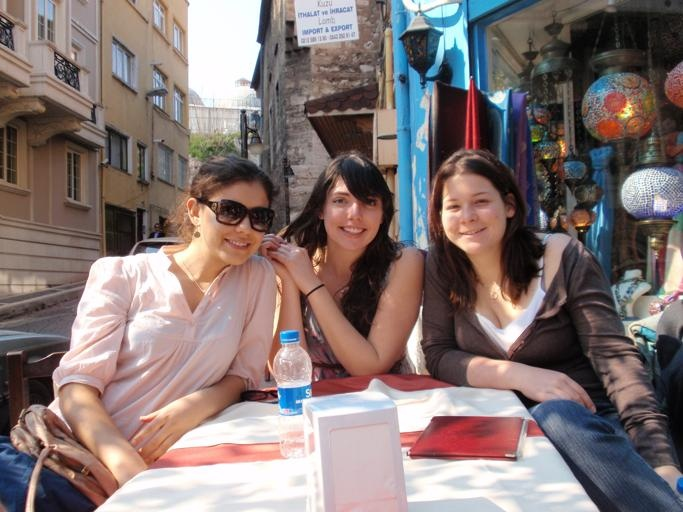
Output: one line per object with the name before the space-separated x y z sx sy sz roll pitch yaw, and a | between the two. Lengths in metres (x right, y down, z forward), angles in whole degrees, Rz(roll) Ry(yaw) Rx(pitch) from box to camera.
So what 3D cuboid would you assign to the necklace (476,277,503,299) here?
necklace | 0.844 0.183 3.255 0.086 0.193 0.015 -9 -26 10
